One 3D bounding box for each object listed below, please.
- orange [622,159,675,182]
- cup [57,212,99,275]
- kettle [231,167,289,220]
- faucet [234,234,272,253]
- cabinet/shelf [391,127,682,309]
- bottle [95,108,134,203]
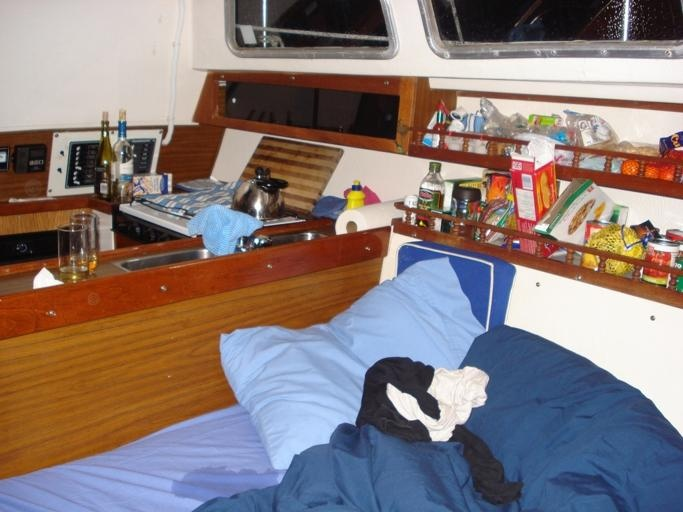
[{"bbox_3d":[0.912,-0.257,1.355,0.140,0.049,0.045,13,15,32],"label":"orange"},{"bbox_3d":[-0.766,-0.039,1.361,0.070,0.151,0.245,-2,15,-29],"label":"cup"},{"bbox_3d":[-0.353,-0.277,2.068,0.267,0.239,0.256,15,17,30],"label":"kettle"},{"bbox_3d":[-0.316,-0.044,1.639,0.078,0.058,0.075,1,0,-5],"label":"faucet"},{"bbox_3d":[0.674,-0.114,1.517,0.638,0.257,0.188,24,31,33],"label":"cabinet/shelf"},{"bbox_3d":[-1.074,-0.467,2.224,0.161,0.460,0.169,5,20,-2],"label":"bottle"}]
